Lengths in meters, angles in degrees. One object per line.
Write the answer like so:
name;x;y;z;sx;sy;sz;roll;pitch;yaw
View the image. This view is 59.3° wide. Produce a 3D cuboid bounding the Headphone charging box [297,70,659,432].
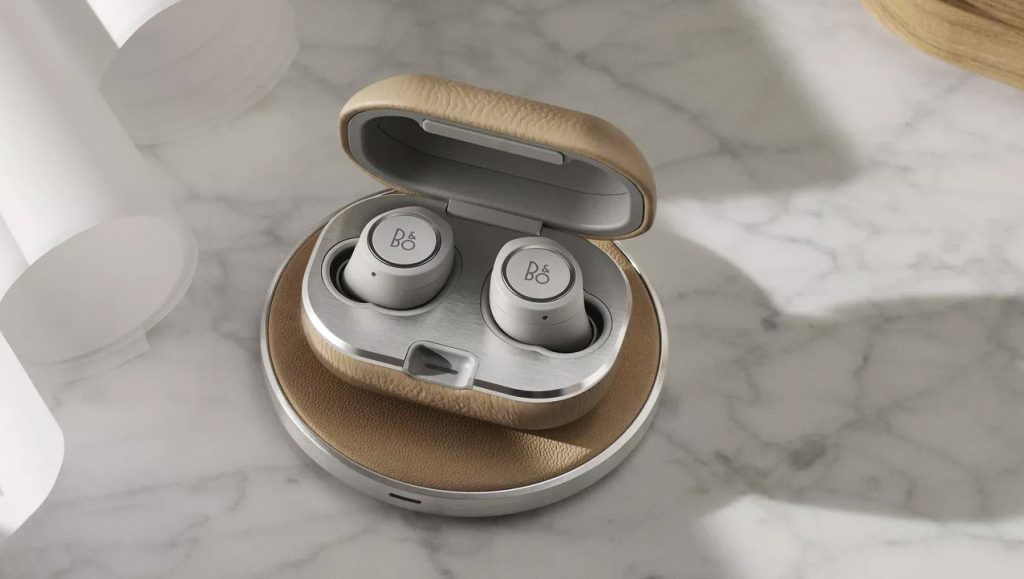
Headphone charging box;-0.027;-0.019;1.134;0.456;0.301;0.382;19;57;5
